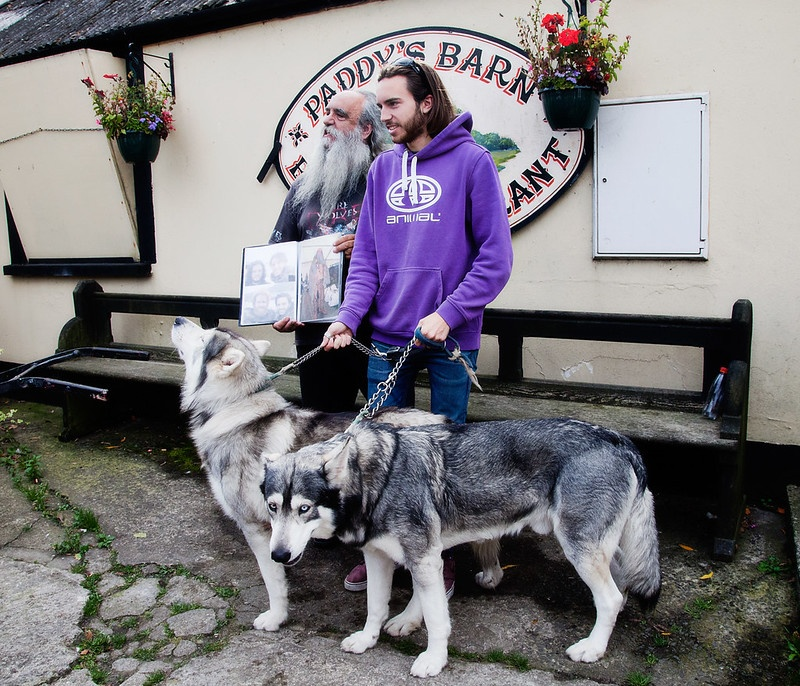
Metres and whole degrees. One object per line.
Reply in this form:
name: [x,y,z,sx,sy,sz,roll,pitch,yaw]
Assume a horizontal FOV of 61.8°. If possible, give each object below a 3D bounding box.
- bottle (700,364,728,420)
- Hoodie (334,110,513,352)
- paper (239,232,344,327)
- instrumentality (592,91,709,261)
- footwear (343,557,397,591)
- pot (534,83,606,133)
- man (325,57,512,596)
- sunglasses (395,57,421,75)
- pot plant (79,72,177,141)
bottle: [2.065,0.316,4.424,0.115,0.294,0.352,6,17,27]
Hoodie: [0.121,-0.583,3.611,0.931,1.212,0.527,6,15,26]
paper: [-0.657,-0.366,4.154,0.504,0.442,0.079,-2,-10,15]
instrumentality: [1.827,-1.224,4.830,0.991,1.591,0.194,2,5,23]
footwear: [-0.200,1.385,4.172,0.137,0.182,0.400,2,4,21]
pot: [1.181,-1.633,4.729,0.282,0.200,0.294,0,5,0]
man: [0.115,-0.080,3.740,0.802,2.890,0.795,6,13,36]
sunglasses: [0.037,-1.432,3.501,0.101,0.085,0.124,-14,19,-38]
pot plant: [-2.611,-2.180,6.577,0.611,0.694,0.821,-5,9,-4]
